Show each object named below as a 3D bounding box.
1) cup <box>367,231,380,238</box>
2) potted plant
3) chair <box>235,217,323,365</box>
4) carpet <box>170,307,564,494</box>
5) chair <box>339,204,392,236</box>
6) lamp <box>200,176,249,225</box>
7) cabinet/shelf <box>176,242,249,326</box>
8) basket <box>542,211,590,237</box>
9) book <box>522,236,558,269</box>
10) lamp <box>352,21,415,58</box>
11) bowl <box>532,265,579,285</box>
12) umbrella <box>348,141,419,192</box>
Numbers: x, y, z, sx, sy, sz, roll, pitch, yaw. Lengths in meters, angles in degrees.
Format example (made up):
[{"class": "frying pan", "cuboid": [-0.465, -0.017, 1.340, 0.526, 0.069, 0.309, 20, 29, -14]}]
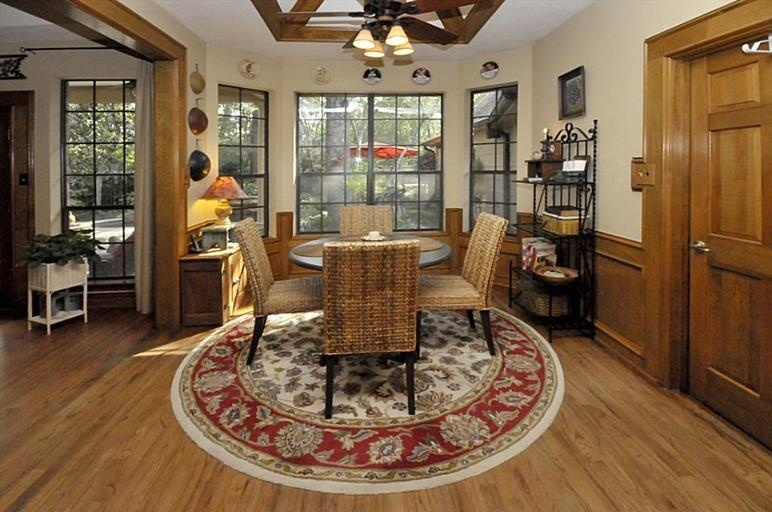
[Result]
[{"class": "cup", "cuboid": [-0.117, -0.203, 5.127, 0.098, 0.049, 0.089, 0, 0, -6]}, {"class": "potted plant", "cuboid": [-3.526, 0.232, 5.550, 0.720, 1.000, 0.833, -10, 16, -36]}, {"class": "chair", "cuboid": [-0.914, 0.291, 4.953, 1.013, 1.115, 0.877, -1, 10, -2]}, {"class": "carpet", "cuboid": [-0.083, 1.204, 4.305, 3.332, 0.379, 1.970, -3, 12, -11]}, {"class": "chair", "cuboid": [-0.170, -0.417, 6.211, 0.691, 0.361, 0.367, -1, 1, 24]}, {"class": "lamp", "cuboid": [-1.885, -0.647, 5.964, 0.551, 0.460, 0.534, 5, 7, 28]}, {"class": "cabinet/shelf", "cuboid": [-2.076, 0.328, 6.138, 0.552, 0.709, 1.399, -1, 6, -9]}, {"class": "basket", "cuboid": [1.818, -0.319, 5.162, 0.333, 0.132, 0.407, 0, 0, 7]}, {"class": "book", "cuboid": [1.809, -0.034, 5.809, 0.402, 0.451, 0.382, 0, 0, 40]}, {"class": "lamp", "cuboid": [-0.013, -1.822, 4.262, 0.389, 0.112, 0.341, 10, 48, 7]}, {"class": "bowl", "cuboid": [1.736, 0.202, 5.298, 0.377, 0.119, 0.495, -1, 11, -4]}, {"class": "umbrella", "cuboid": [-0.089, -1.280, 7.201, 0.835, 0.254, 0.739, -1, -2, 16]}]
